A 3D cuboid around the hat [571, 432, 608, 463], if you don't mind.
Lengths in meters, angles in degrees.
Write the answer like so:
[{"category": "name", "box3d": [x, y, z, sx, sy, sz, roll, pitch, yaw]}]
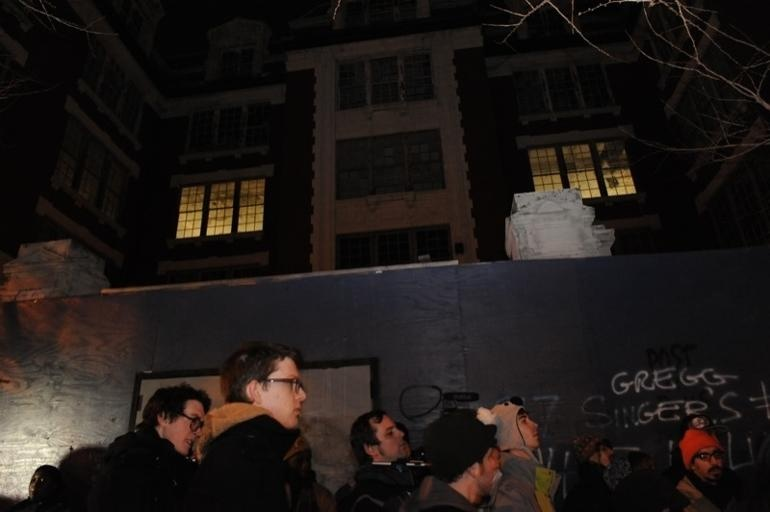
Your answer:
[{"category": "hat", "box3d": [3.529, 3.335, 9.839, 0.534, 0.446, 0.231, -2, -19, -1]}]
